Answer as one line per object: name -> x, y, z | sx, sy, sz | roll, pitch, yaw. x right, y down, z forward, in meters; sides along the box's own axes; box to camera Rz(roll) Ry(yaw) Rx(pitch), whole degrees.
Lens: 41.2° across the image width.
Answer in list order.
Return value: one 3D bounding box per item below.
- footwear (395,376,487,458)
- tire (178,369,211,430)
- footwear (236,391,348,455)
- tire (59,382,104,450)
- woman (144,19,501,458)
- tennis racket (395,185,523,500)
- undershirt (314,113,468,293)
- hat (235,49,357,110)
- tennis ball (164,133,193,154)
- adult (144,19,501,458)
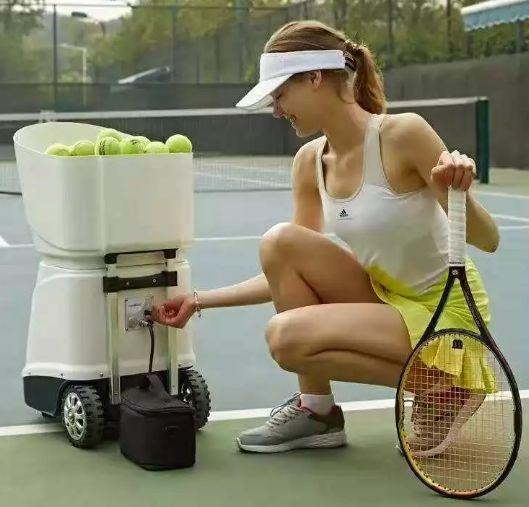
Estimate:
footwear -> 0.403, 0.377, 1.611 | 0.077, 0.195, 0.068 | 30, 11, -27
tire -> -0.186, 0.388, 1.833 | 0.042, 0.151, 0.127 | -3, 7, -20
footwear -> 0.064, 0.440, 1.838 | 0.282, 0.184, 0.114 | 0, -5, -8
tire -> -0.451, 0.409, 1.756 | 0.039, 0.153, 0.126 | -1, 2, -30
woman -> 0.144, -0.045, 1.783 | 0.807, 1.099, 0.603 | 2, 2, 33
tennis racket -> 0.463, 0.202, 1.637 | 0.304, 0.716, 0.661 | 1, 7, 11
undershirt -> 0.295, -0.122, 1.782 | 0.268, 0.530, 0.294 | -23, 11, -21
hat -> 0.070, -0.422, 1.697 | 0.242, 0.118, 0.143 | -24, 10, 6
tennis ball -> -0.234, -0.304, 1.934 | 0.060, 0.083, 0.061 | 8, 18, -3
adult -> 0.154, -0.041, 1.788 | 0.800, 1.120, 0.616 | 1, -3, 32
